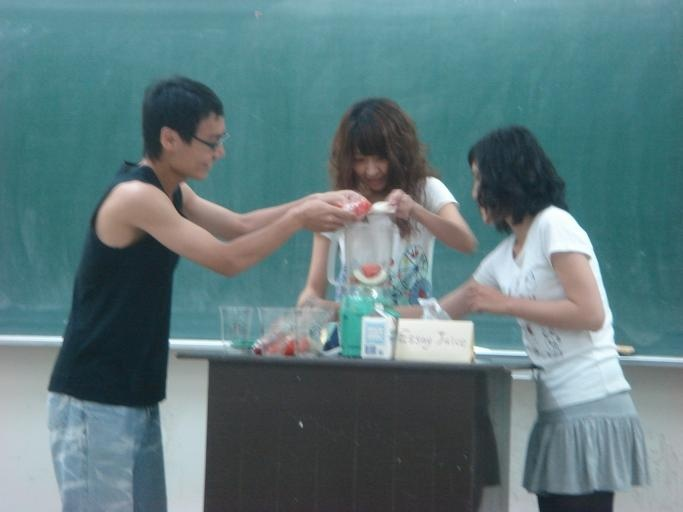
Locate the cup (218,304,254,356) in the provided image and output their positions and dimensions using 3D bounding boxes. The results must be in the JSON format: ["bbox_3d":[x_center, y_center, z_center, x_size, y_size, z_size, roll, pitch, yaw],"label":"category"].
[{"bbox_3d":[-0.384,0.278,3.153,0.130,0.191,0.139,-4,-13,-1],"label":"cup"}]
